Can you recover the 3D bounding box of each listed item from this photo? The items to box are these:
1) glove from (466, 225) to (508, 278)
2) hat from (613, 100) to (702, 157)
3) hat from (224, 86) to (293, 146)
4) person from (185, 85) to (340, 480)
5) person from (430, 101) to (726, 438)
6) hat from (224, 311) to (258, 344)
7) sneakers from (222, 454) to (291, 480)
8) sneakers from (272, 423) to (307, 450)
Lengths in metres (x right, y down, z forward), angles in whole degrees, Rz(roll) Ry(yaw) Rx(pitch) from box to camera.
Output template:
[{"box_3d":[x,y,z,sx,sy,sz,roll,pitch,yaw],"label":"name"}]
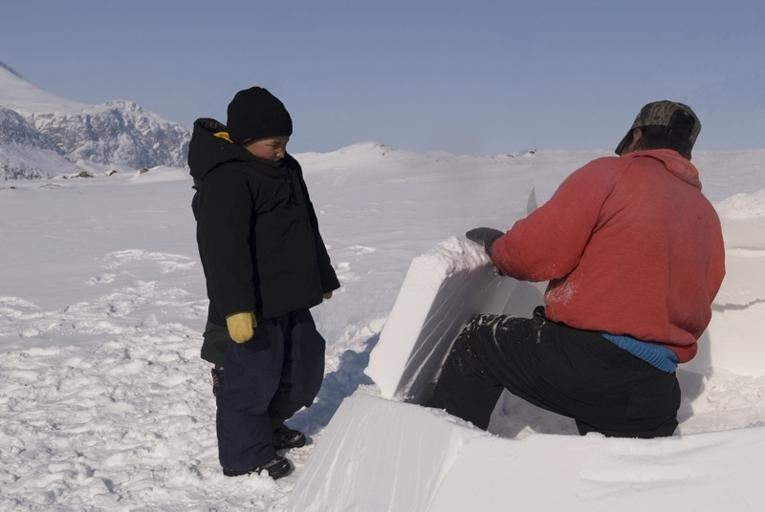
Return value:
[{"box_3d":[0.599,-0.088,4.301,0.145,0.170,0.422,1,1,-12],"label":"glove"},{"box_3d":[1.581,-0.750,4.111,0.340,0.228,0.455,15,-3,-27],"label":"hat"},{"box_3d":[-0.769,-0.849,4.368,0.317,0.292,0.394,12,-15,-4],"label":"hat"},{"box_3d":[-0.756,0.146,4.366,0.701,2.270,0.859,10,19,28],"label":"person"},{"box_3d":[1.131,0.097,3.852,1.468,1.738,0.744,2,17,3],"label":"person"},{"box_3d":[-0.800,0.409,4.083,0.154,0.179,0.191,-3,27,12],"label":"hat"},{"box_3d":[-0.744,1.273,4.322,0.407,0.135,0.142,-3,1,-8],"label":"sneakers"},{"box_3d":[-0.605,1.155,4.611,0.252,0.133,0.113,-5,4,-5],"label":"sneakers"}]
